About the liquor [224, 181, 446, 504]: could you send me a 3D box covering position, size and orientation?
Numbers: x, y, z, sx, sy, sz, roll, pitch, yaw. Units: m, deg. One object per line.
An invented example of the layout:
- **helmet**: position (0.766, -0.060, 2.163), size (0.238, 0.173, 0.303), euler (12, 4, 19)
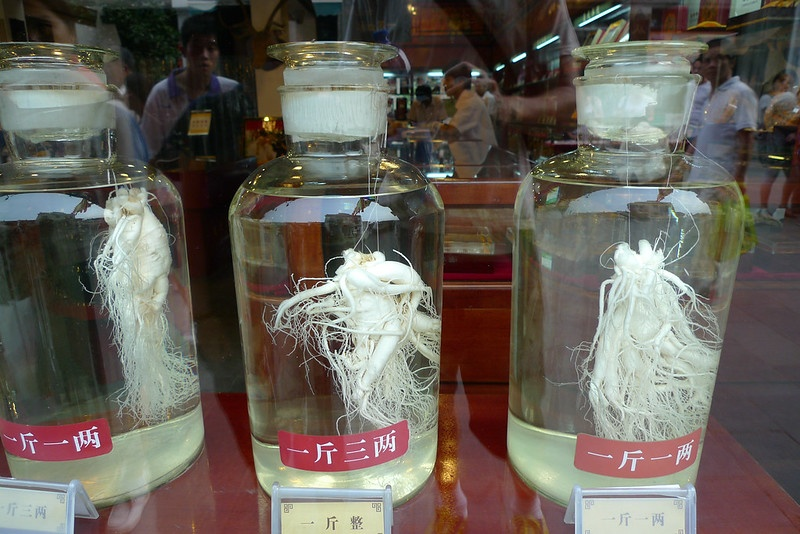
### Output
- **liquor**: position (-0.122, 0.121, 1.145), size (0.334, 0.570, 0.338), euler (2, 9, 32)

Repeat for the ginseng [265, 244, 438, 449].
- **ginseng**: position (-0.050, 0.126, 1.038), size (0.287, 0.309, 0.112), euler (-1, -2, -2)
